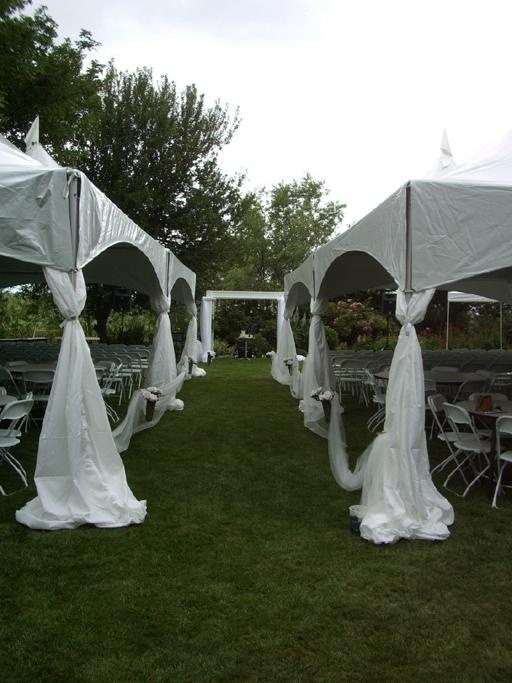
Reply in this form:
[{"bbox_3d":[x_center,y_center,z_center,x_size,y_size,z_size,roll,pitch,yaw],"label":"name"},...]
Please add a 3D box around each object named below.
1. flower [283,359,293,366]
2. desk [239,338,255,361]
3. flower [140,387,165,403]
[{"bbox_3d":[0.725,0.457,10.583,0.180,0.115,0.219,1,0,1],"label":"flower"},{"bbox_3d":[-0.369,0.288,18.414,0.697,0.726,0.864,1,1,2],"label":"desk"},{"bbox_3d":[-1.251,0.638,5.688,0.202,0.202,0.362,0,1,-13],"label":"flower"}]
